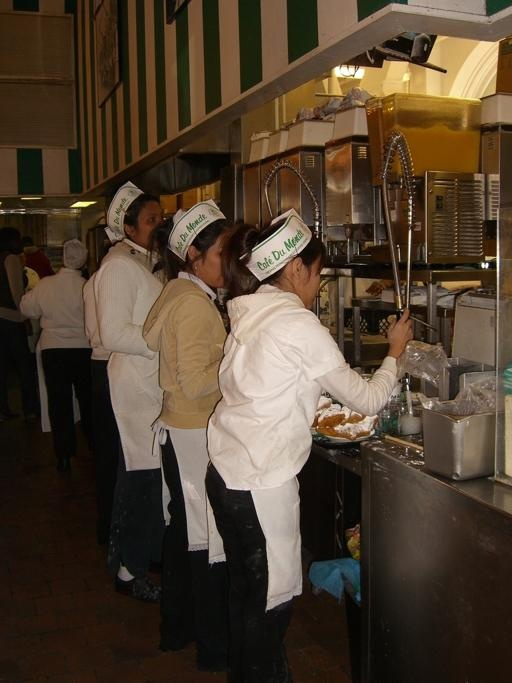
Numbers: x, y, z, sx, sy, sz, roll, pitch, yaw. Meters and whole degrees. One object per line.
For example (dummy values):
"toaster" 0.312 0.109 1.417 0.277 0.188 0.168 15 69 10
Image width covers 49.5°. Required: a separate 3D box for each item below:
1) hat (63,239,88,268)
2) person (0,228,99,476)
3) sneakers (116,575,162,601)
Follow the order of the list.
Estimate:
"hat" -1.297 -0.630 3.997 0.139 0.218 0.074 -3 5 -15
"person" -1.425 0.098 4.021 0.452 1.658 0.424 -2 4 -18
"sneakers" -0.496 1.040 2.373 0.176 0.085 0.086 -1 -3 21
